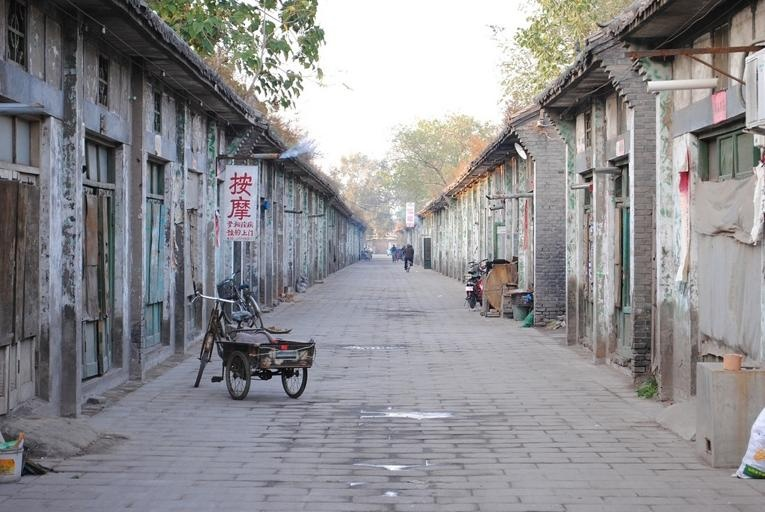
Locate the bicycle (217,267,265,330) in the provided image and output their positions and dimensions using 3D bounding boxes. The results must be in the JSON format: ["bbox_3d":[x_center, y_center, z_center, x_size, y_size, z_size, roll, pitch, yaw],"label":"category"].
[{"bbox_3d":[-2.825,0.804,17.254,1.482,1.248,0.532,-1,-2,24],"label":"bicycle"}]

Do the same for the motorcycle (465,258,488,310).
[{"bbox_3d":[2.497,0.752,23.553,0.695,0.804,1.239,3,13,11],"label":"motorcycle"}]

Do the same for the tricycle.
[{"bbox_3d":[-1.802,1.280,12.498,1.095,1.241,1.940,2,3,-36],"label":"tricycle"}]

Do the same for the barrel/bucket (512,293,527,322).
[{"bbox_3d":[3.218,1.141,20.393,0.527,0.577,0.671,3,-2,-3],"label":"barrel/bucket"}]
